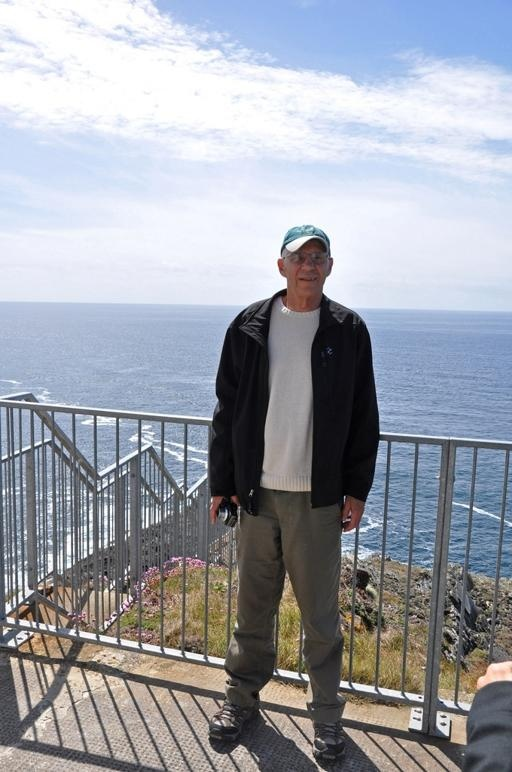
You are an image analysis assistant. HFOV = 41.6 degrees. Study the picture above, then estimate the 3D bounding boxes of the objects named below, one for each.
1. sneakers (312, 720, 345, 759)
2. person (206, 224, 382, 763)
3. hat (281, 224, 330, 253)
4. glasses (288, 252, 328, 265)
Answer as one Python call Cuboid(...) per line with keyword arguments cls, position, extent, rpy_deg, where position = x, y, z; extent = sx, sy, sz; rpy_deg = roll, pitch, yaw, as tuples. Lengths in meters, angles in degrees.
Cuboid(cls="sneakers", position=(0.319, 1.562, 2.950), extent=(0.135, 0.117, 0.135), rpy_deg=(3, 5, 4))
Cuboid(cls="person", position=(0.148, 0.452, 2.989), extent=(0.737, 2.316, 0.309), rpy_deg=(4, 5, 11))
Cuboid(cls="hat", position=(0.218, -0.647, 2.954), extent=(0.214, 0.138, 0.199), rpy_deg=(3, 5, 1))
Cuboid(cls="glasses", position=(0.219, -0.546, 2.895), extent=(0.157, 0.061, 0.045), rpy_deg=(3, 5, -4))
